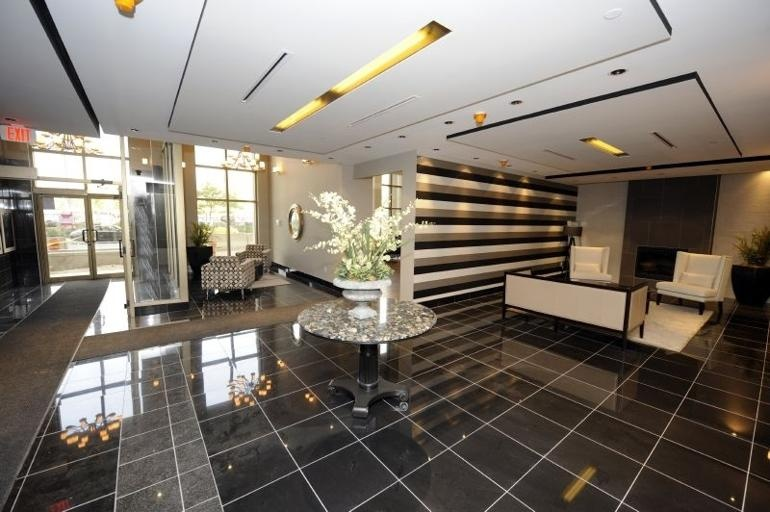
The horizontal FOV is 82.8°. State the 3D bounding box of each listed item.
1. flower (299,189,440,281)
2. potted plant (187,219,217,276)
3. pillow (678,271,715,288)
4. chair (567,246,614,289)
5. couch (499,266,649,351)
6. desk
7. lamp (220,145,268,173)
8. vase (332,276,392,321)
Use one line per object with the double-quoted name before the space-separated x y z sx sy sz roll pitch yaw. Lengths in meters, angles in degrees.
"flower" -0.208 -0.124 5.552 1.031 0.705 0.934 0 6 -29
"potted plant" -5.009 -0.218 11.816 0.773 1.275 0.736 -2 3 -23
"pillow" 6.247 0.486 8.726 0.586 0.263 0.443 5 9 41
"chair" 4.369 0.281 9.375 0.927 0.976 0.898 3 3 0
"couch" 3.205 0.802 7.549 0.926 0.890 2.165 0 6 -44
"desk" -0.234 1.304 5.664 1.788 1.073 1.762 -1 9 5
"lamp" -3.603 -2.441 11.397 1.287 0.690 1.515 1 19 -12
"vase" -0.291 0.506 5.623 0.822 0.527 0.824 3 7 21
